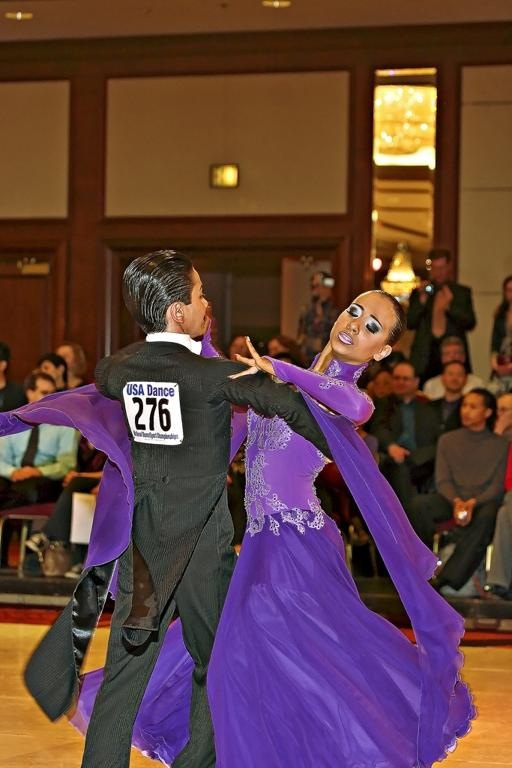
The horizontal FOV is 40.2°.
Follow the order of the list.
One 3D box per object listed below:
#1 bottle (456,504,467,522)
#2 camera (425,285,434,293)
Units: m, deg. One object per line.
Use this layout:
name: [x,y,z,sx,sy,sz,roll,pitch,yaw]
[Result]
bottle: [1.180,0.753,4.056,0.073,0.116,0.067,2,5,0]
camera: [1.369,-0.760,5.588,0.049,0.056,0.053,-5,13,8]
